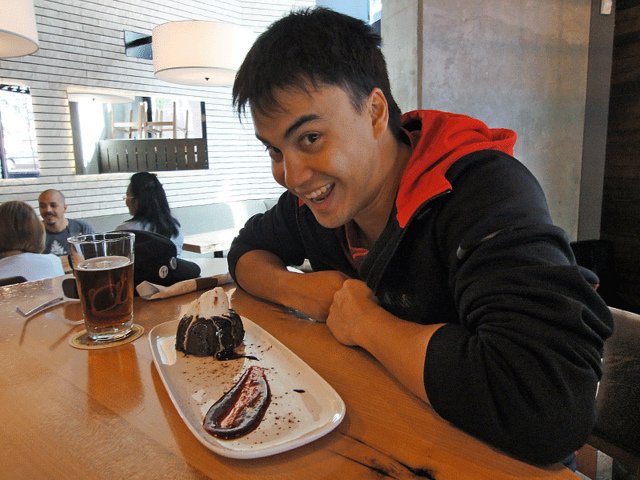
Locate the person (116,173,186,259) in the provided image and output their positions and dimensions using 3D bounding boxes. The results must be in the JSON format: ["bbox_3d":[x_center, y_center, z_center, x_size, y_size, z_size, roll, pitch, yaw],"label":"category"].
[{"bbox_3d":[-1.526,-0.241,4.573,0.479,0.726,0.377,-9,12,-18],"label":"person"}]

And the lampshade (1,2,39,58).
[{"bbox_3d":[-1.519,-1.056,2.537,0.189,0.209,0.446,-11,13,-26],"label":"lampshade"}]

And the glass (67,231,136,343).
[{"bbox_3d":[-0.613,0.123,1.495,0.136,0.321,0.179,-9,11,-37],"label":"glass"}]

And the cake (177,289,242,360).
[{"bbox_3d":[-0.298,0.222,1.443,0.165,0.165,0.169,2,5,22],"label":"cake"}]
